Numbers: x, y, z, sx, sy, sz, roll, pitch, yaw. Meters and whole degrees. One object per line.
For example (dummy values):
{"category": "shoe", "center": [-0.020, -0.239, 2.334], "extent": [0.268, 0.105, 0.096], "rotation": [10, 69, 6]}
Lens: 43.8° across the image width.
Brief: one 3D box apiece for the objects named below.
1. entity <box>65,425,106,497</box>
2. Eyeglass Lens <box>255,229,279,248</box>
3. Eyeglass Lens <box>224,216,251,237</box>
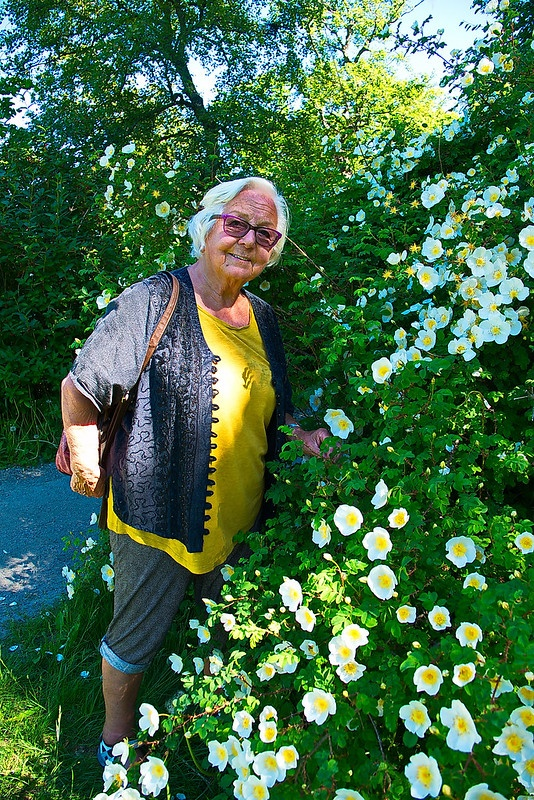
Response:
{"category": "entity", "center": [-0.543, 0.172, 1.945], "extent": [0.155, 0.187, 0.074], "rotation": [-12, 16, -40]}
{"category": "Eyeglass Lens", "center": [-0.003, -0.514, 2.098], "extent": [0.071, 0.024, 0.070], "rotation": [-1, -5, 43]}
{"category": "Eyeglass Lens", "center": [-0.097, -0.535, 2.040], "extent": [0.081, 0.029, 0.075], "rotation": [17, -10, -13]}
